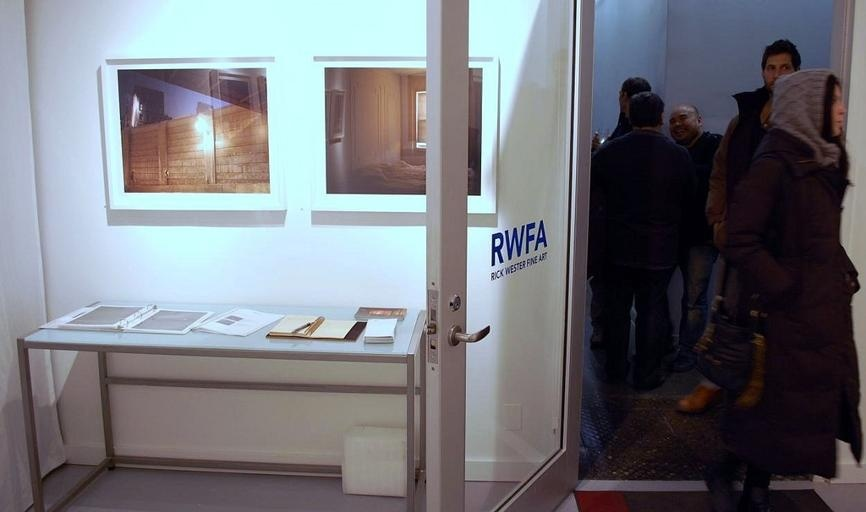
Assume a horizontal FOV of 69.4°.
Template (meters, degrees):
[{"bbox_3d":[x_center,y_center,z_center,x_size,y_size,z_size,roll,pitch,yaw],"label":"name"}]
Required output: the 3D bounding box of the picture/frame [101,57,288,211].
[{"bbox_3d":[-1.456,-0.801,3.901,0.995,0.784,0.069,-1,8,0],"label":"picture/frame"}]

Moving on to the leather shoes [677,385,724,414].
[{"bbox_3d":[1.559,0.835,3.658,0.248,0.094,0.108,-30,21,-11],"label":"leather shoes"}]

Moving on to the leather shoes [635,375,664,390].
[{"bbox_3d":[1.296,0.768,3.767,0.097,0.040,0.123,-5,-6,6],"label":"leather shoes"}]
